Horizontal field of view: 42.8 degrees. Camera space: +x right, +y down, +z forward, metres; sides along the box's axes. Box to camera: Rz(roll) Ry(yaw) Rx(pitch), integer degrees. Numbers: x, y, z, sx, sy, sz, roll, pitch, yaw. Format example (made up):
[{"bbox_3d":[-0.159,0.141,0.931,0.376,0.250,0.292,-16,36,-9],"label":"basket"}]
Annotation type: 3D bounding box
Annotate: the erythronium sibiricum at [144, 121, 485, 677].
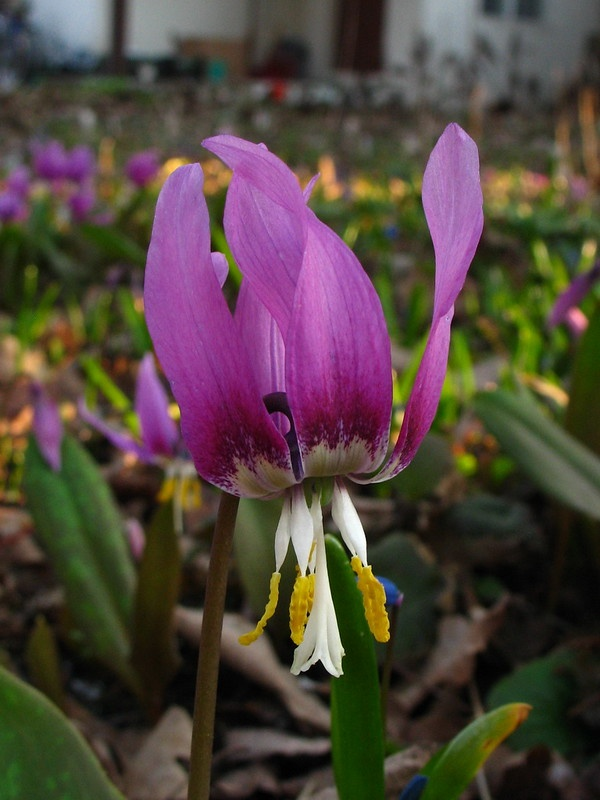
[{"bbox_3d":[0.006,0.019,0.420,0.154,0.330,0.132,6,14,6],"label":"erythronium sibiricum"}]
